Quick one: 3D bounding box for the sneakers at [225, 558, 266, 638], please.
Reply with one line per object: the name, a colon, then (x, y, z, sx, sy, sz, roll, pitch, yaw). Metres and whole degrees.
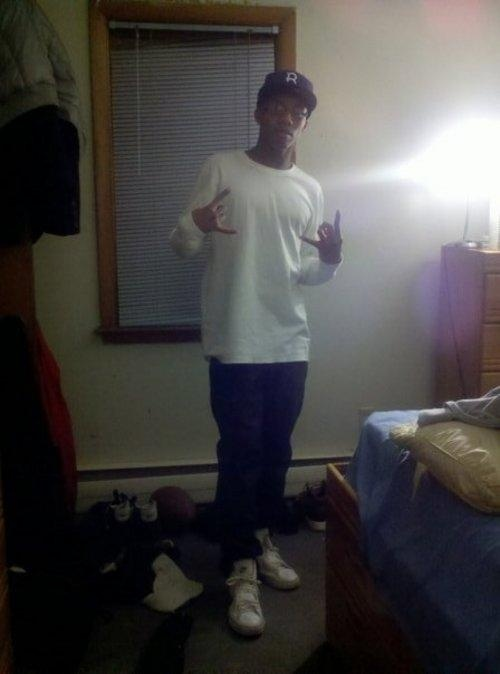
sneakers: (-0.016, 0.755, 1.769, 0.081, 0.136, 0.294, 6, 4, -7)

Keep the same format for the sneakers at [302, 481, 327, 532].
sneakers: (0.263, 0.670, 2.351, 0.094, 0.150, 0.143, 0, 10, 8)

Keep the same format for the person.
person: (0.018, 0.017, 1.802, 0.522, 1.608, 0.547, 2, 11, -10)

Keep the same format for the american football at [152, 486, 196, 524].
american football: (-0.273, 0.606, 2.179, 0.091, 0.088, 0.130, 12, 3, -9)

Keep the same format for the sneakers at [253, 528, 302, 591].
sneakers: (0.066, 0.732, 1.918, 0.073, 0.157, 0.212, -1, -8, -29)
